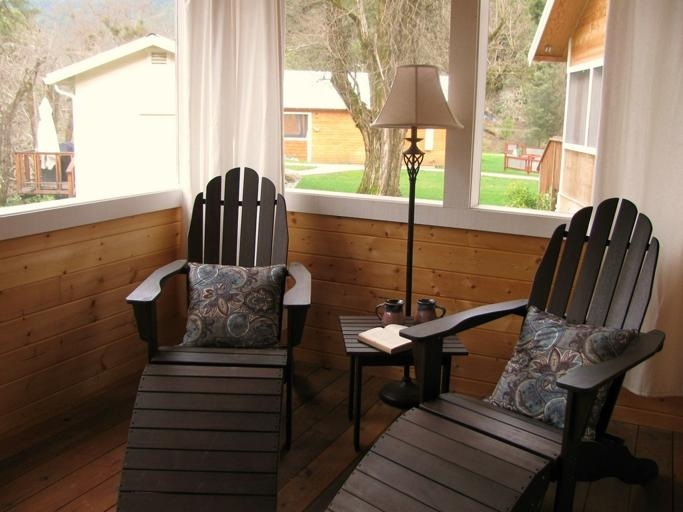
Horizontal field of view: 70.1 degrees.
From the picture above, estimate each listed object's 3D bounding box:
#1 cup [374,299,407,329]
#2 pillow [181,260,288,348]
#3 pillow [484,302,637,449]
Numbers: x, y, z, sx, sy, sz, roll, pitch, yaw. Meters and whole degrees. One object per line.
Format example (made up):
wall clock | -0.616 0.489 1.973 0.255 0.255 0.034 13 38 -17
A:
cup | 0.252 0.307 2.588 0.165 0.164 0.119 0 7 14
pillow | -0.484 0.217 2.659 0.666 0.349 0.566 0 42 0
pillow | 0.853 0.471 1.932 0.138 0.465 0.457 27 -4 -33
